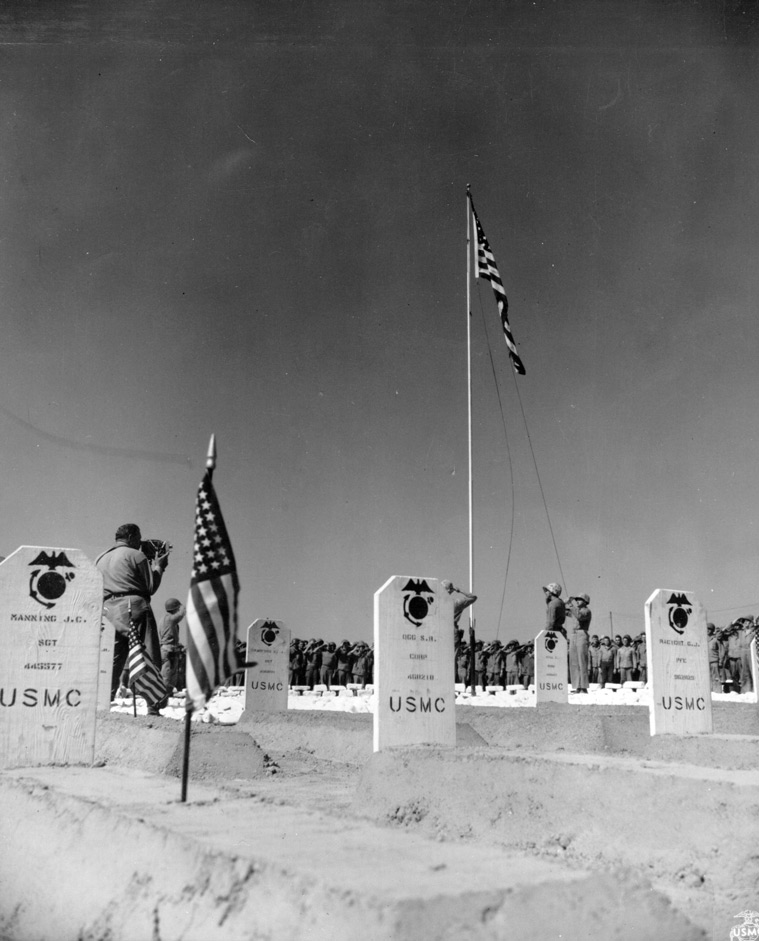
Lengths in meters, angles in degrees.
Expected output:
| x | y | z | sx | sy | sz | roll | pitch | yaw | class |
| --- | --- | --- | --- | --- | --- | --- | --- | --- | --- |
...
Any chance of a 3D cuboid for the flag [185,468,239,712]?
| x | y | z | sx | sy | sz | roll | pitch | yaw | class |
| --- | --- | --- | --- | --- | --- | --- | --- | --- | --- |
| -0.677 | 0.474 | 3.636 | 0.205 | 0.960 | 0.236 | 1 | -6 | -12 | flag |
